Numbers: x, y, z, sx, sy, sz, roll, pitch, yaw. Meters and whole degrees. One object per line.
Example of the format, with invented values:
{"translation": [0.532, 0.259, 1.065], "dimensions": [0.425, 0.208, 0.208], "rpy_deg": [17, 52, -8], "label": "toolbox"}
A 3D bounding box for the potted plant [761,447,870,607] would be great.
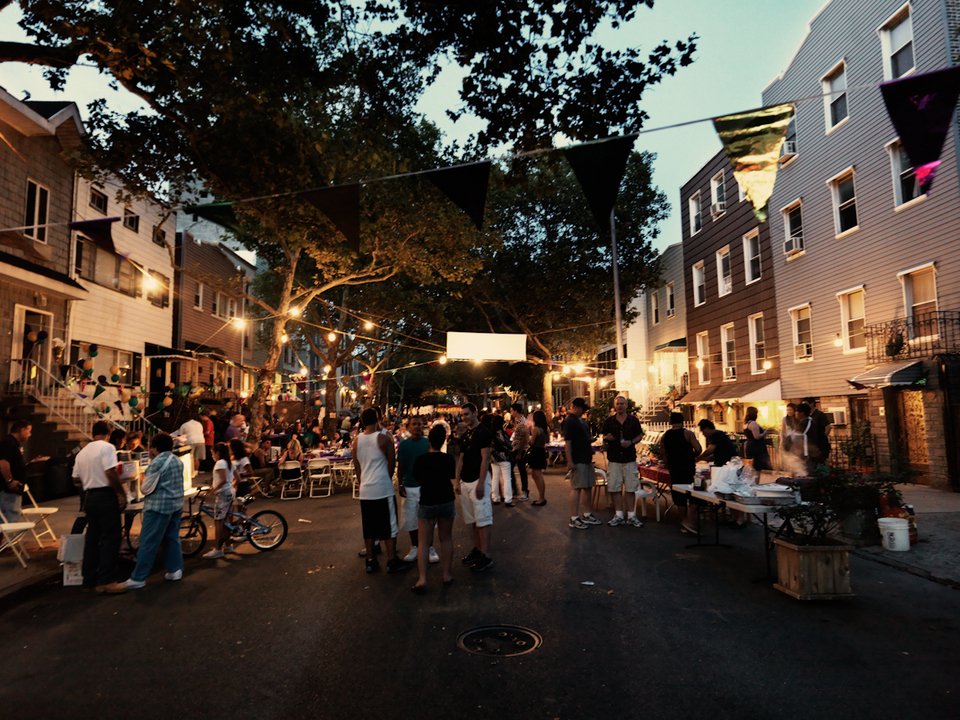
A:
{"translation": [4.638, 2.333, 10.181], "dimensions": [1.406, 2.473, 2.195], "rpy_deg": [2, -9, -3], "label": "potted plant"}

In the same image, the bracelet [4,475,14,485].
{"translation": [-7.774, 1.984, 11.452], "dimensions": [0.173, 0.164, 0.161], "rpy_deg": [0, -4, -28], "label": "bracelet"}

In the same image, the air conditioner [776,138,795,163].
{"translation": [9.779, -6.632, 22.068], "dimensions": [0.302, 0.719, 0.738], "rpy_deg": [0, -11, -9], "label": "air conditioner"}

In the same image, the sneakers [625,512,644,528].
{"translation": [2.946, 3.076, 13.279], "dimensions": [0.416, 0.259, 0.154], "rpy_deg": [-1, -1, 12], "label": "sneakers"}

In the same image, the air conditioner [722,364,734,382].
{"translation": [9.726, 0.547, 27.014], "dimensions": [0.130, 0.460, 0.484], "rpy_deg": [4, -3, -14], "label": "air conditioner"}

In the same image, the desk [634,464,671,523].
{"translation": [3.832, 2.850, 15.500], "dimensions": [0.690, 0.845, 2.361], "rpy_deg": [9, -3, 12], "label": "desk"}

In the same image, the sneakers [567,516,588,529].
{"translation": [1.834, 3.061, 12.963], "dimensions": [0.159, 0.157, 0.369], "rpy_deg": [3, -13, -20], "label": "sneakers"}

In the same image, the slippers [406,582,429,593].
{"translation": [-0.855, 3.107, 9.465], "dimensions": [0.304, 0.118, 0.269], "rpy_deg": [-6, -12, 21], "label": "slippers"}

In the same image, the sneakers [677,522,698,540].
{"translation": [3.765, 3.104, 12.502], "dimensions": [0.128, 0.163, 0.422], "rpy_deg": [-3, -19, -3], "label": "sneakers"}

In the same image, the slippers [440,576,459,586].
{"translation": [-0.413, 3.111, 9.765], "dimensions": [0.202, 0.103, 0.307], "rpy_deg": [-10, -14, 37], "label": "slippers"}

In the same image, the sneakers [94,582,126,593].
{"translation": [-5.222, 3.248, 9.832], "dimensions": [0.245, 0.079, 0.173], "rpy_deg": [-5, -10, 4], "label": "sneakers"}

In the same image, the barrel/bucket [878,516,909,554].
{"translation": [6.565, 2.778, 10.915], "dimensions": [0.482, 0.464, 0.481], "rpy_deg": [-1, -9, 0], "label": "barrel/bucket"}

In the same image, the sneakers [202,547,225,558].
{"translation": [-4.493, 3.270, 11.679], "dimensions": [0.355, 0.157, 0.128], "rpy_deg": [6, -8, -22], "label": "sneakers"}

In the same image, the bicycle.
{"translation": [-4.406, 2.787, 12.063], "dimensions": [2.002, 1.143, 0.977], "rpy_deg": [0, -6, -22], "label": "bicycle"}

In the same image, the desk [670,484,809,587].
{"translation": [4.117, 2.679, 10.938], "dimensions": [0.991, 0.985, 2.840], "rpy_deg": [-4, -4, -2], "label": "desk"}
